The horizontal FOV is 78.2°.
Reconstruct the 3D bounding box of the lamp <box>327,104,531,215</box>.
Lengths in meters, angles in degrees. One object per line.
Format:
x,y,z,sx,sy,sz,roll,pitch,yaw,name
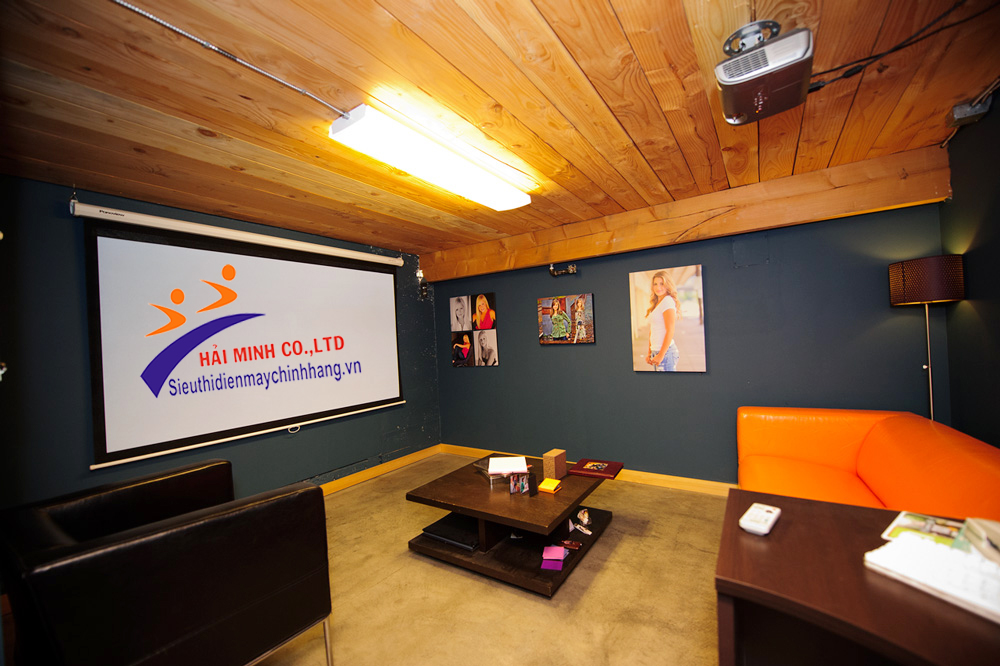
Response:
-0.563,-1.132,4.587,0.392,0.144,1.472,-23,-22,30,lamp

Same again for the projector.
1.660,-1.656,3.901,0.418,0.212,0.417,-21,-33,15,projector

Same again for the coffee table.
0.161,1.487,5.076,1.061,0.373,1.084,4,12,25,coffee table

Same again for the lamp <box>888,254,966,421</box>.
3.421,0.052,4.932,0.500,1.331,0.477,-2,2,32,lamp

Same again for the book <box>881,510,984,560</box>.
2.409,1.105,3.444,0.200,0.065,0.277,-11,9,-37,book

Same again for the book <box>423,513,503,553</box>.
-0.306,1.625,4.997,0.374,0.087,0.370,-3,-7,37,book

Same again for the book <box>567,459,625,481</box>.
0.803,1.150,5.194,0.270,0.071,0.283,-1,1,30,book
